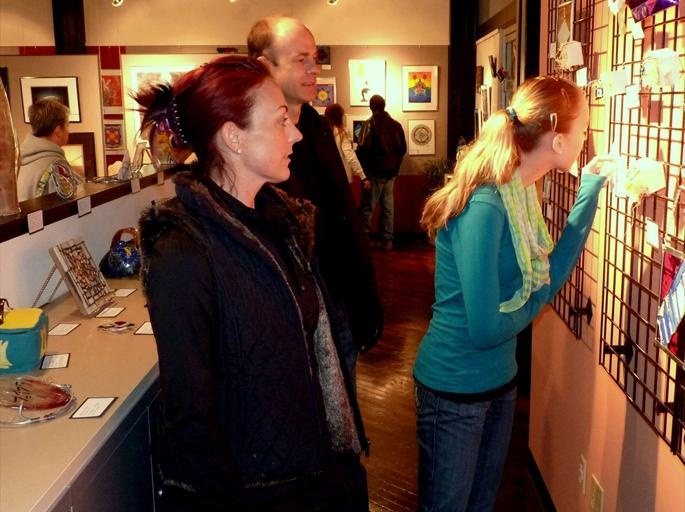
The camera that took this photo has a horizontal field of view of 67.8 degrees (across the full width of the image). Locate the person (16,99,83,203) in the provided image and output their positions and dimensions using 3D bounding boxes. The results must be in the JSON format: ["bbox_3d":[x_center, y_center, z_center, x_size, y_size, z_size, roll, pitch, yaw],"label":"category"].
[{"bbox_3d":[-2.223,-0.821,3.794,0.385,0.746,1.583,-5,15,-30],"label":"person"}]

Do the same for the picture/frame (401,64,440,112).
[{"bbox_3d":[1.240,-2.768,8.246,0.581,0.757,0.026,0,6,-5],"label":"picture/frame"}]

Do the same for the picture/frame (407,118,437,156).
[{"bbox_3d":[1.281,-1.994,8.365,0.514,0.724,0.068,0,3,-3],"label":"picture/frame"}]

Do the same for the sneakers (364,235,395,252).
[{"bbox_3d":[0.666,-0.212,8.033,0.648,0.317,0.236,0,10,15],"label":"sneakers"}]
